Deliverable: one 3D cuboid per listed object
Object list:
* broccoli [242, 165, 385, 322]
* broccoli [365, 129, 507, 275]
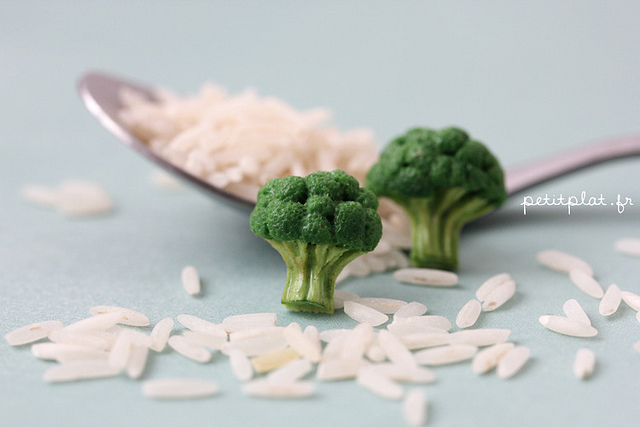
[{"bbox_3d":[-0.001,0.090,1.801,0.384,0.350,0.264,-9,29,-5],"label":"broccoli"},{"bbox_3d":[0.387,-0.033,2.032,0.457,0.490,0.257,-4,29,4],"label":"broccoli"}]
